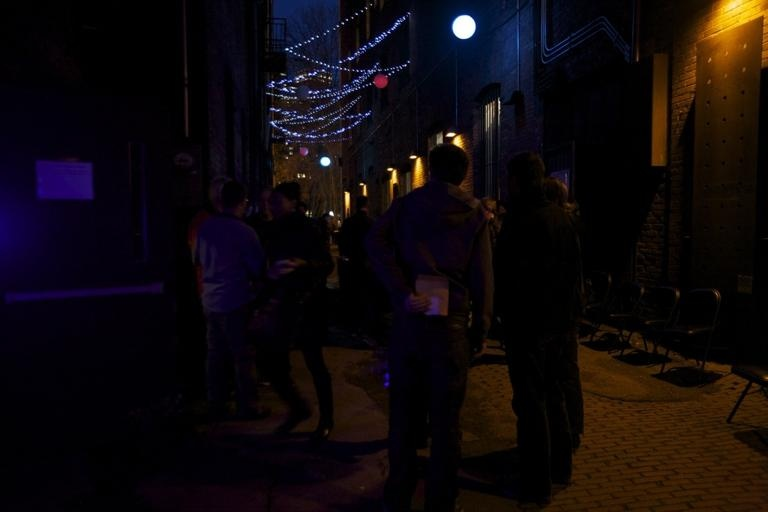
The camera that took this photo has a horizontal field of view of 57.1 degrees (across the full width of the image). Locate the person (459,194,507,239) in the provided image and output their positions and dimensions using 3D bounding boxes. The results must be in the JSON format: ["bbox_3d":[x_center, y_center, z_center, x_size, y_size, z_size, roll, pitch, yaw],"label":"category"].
[{"bbox_3d":[1.628,-0.629,11.062,0.346,0.928,0.611,2,3,-32],"label":"person"}]

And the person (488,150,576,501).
[{"bbox_3d":[1.614,0.744,7.497,0.844,3.680,0.466,-1,2,15],"label":"person"}]
